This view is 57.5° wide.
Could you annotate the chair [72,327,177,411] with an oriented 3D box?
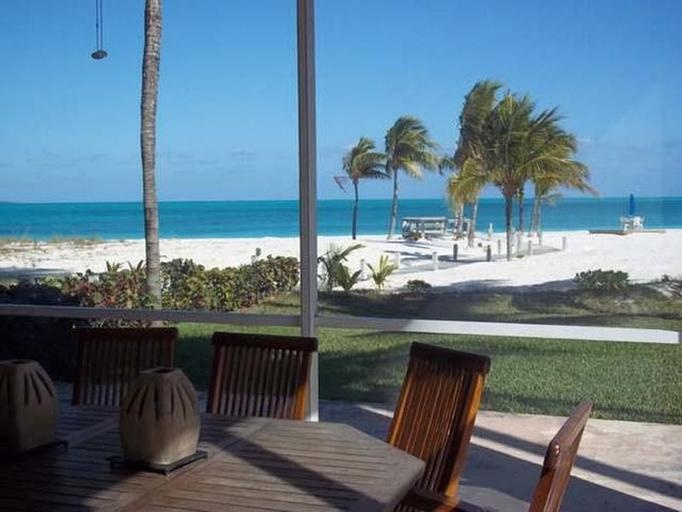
[{"bbox_3d":[-0.942,0.472,2.650,0.509,0.361,0.235,2,9,23],"label":"chair"}]
